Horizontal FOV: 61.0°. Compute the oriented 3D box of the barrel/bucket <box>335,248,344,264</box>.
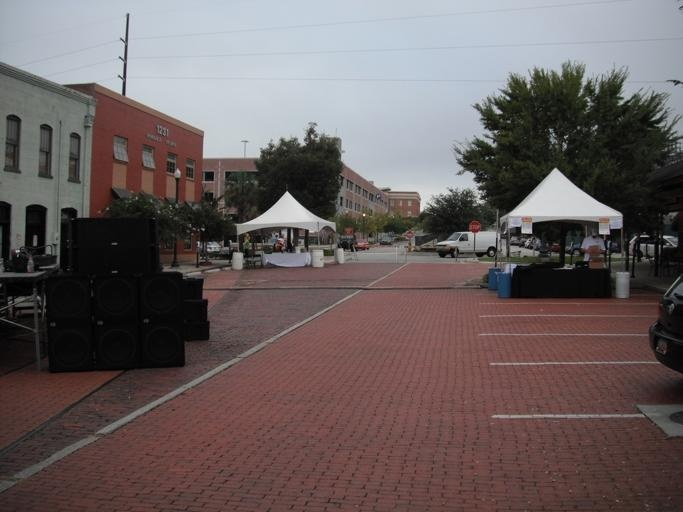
[{"bbox_3d":[-0.106,-0.001,39.030,0.528,0.999,1.227,-1,3,-4],"label":"barrel/bucket"}]

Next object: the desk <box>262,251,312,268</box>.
[{"bbox_3d":[-3.274,0.284,34.654,2.794,0.837,0.803,-2,3,-20],"label":"desk"}]

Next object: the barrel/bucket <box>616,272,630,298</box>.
[{"bbox_3d":[8.659,0.910,17.815,0.335,0.741,0.406,0,3,18],"label":"barrel/bucket"}]

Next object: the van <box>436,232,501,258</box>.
[{"bbox_3d":[10.841,-0.944,49.365,4.770,2.121,2.610,-1,3,-2],"label":"van"}]

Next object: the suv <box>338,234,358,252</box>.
[{"bbox_3d":[0.624,-1.340,59.248,1.325,1.283,2.257,0,-5,0],"label":"suv"}]

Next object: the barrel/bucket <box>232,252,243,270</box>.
[{"bbox_3d":[-5.843,0.296,32.653,0.503,0.915,0.502,-1,3,0],"label":"barrel/bucket"}]

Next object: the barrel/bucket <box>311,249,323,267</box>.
[{"bbox_3d":[-1.461,0.190,34.506,0.645,0.957,0.745,0,3,5],"label":"barrel/bucket"}]

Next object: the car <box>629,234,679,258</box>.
[{"bbox_3d":[17.213,-0.518,31.858,3.066,1.293,1.456,-2,1,19],"label":"car"}]

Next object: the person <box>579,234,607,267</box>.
[{"bbox_3d":[7.943,-0.174,18.286,0.634,1.050,0.903,1,3,22],"label":"person"}]

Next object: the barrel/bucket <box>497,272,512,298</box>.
[{"bbox_3d":[5.129,0.926,18.115,0.402,0.732,0.503,1,3,20],"label":"barrel/bucket"}]

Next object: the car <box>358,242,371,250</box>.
[{"bbox_3d":[2.900,-1.231,74.096,1.015,0.726,2.174,-1,-1,8],"label":"car"}]
